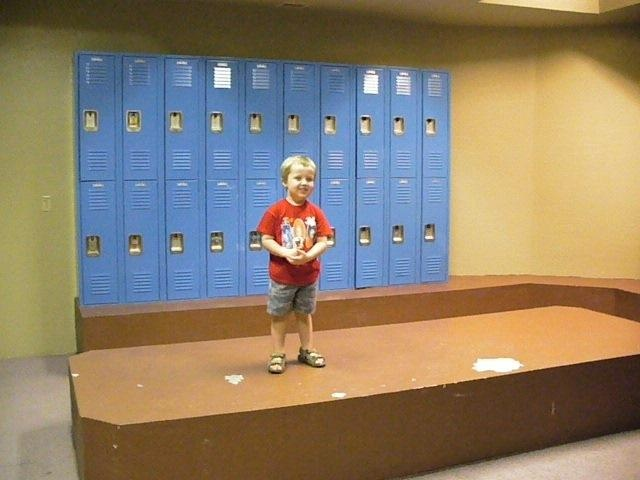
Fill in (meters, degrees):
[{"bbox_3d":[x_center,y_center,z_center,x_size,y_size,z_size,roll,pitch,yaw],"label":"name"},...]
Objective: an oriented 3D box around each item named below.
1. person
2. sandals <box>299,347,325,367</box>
[{"bbox_3d":[-0.152,0.152,3.273,0.437,1.301,0.358,0,11,-4],"label":"person"},{"bbox_3d":[-0.053,0.737,3.454,0.073,0.078,0.188,-6,10,-44],"label":"sandals"}]
